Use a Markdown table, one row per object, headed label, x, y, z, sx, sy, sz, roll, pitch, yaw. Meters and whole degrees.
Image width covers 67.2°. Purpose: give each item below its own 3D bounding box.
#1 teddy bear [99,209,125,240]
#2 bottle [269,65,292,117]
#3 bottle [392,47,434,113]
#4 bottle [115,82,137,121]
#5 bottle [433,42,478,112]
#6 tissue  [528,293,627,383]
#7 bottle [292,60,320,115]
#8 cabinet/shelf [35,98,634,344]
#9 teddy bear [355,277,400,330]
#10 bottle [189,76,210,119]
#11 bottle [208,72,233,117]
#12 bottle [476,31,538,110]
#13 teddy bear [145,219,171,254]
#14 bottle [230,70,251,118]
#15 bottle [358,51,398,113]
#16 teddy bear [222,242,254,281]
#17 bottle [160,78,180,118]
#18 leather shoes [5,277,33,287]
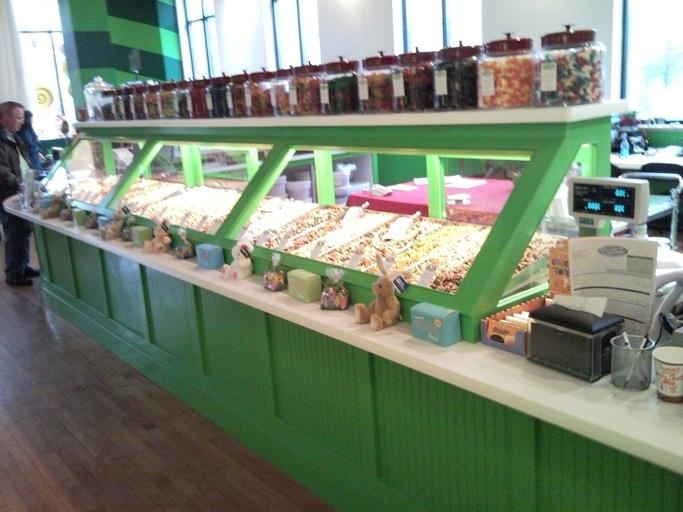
| label | x | y | z | sx | sy | sz | roll | pitch | yaw |
| --- | --- | --- | --- | --- | --- | --- | --- | --- | --- |
| teddy bear | -1.625 | -0.217 | 3.703 | 0.098 | 0.236 | 0.174 | 29 | -5 | -22 |
| bottle | -0.340 | -0.892 | 2.799 | 0.154 | 0.226 | 0.159 | 2 | 23 | -1 |
| bottle | 0.318 | -0.758 | 2.270 | 0.219 | 0.247 | 0.221 | 4 | 9 | 40 |
| bottle | -1.675 | -1.189 | 4.075 | 0.149 | 0.285 | 0.163 | -5 | -7 | -1 |
| bottle | 0.458 | -0.717 | 2.066 | 0.189 | 0.237 | 0.120 | 5 | 22 | 22 |
| tissue  | 0.734 | 0.270 | 1.707 | 0.238 | 0.268 | 0.305 | -17 | 24 | -40 |
| bottle | -0.179 | -0.860 | 2.660 | 0.148 | 0.242 | 0.145 | -1 | 17 | 0 |
| cabinet/shelf | -0.090 | -0.397 | 2.721 | 2.592 | 0.810 | 0.737 | 16 | 28 | 40 |
| teddy bear | 0.158 | 0.177 | 2.145 | 0.173 | 0.233 | 0.166 | -12 | 19 | -31 |
| bottle | -0.921 | -1.023 | 3.282 | 0.146 | 0.231 | 0.134 | 7 | 29 | -4 |
| bottle | -0.752 | -0.990 | 3.165 | 0.134 | 0.244 | 0.149 | -2 | 32 | -9 |
| bottle | 0.649 | -0.727 | 2.036 | 0.243 | 0.287 | 0.244 | -6 | 15 | 7 |
| teddy bear | -1.185 | -0.129 | 3.332 | 0.157 | 0.202 | 0.132 | 7 | 13 | 8 |
| bottle | -0.561 | -0.937 | 3.015 | 0.121 | 0.201 | 0.118 | 2 | 13 | 0 |
| bottle | 0.178 | -0.794 | 2.386 | 0.183 | 0.274 | 0.186 | -3 | 13 | 1 |
| teddy bear | -0.558 | 0.017 | 2.768 | 0.158 | 0.206 | 0.147 | 10 | 12 | 17 |
| bottle | -1.199 | -1.098 | 3.562 | 0.156 | 0.241 | 0.164 | 8 | 38 | -6 |
| leather shoes | -3.529 | 0.281 | 5.697 | 0.317 | 0.135 | 0.116 | 0 | 12 | -6 |
